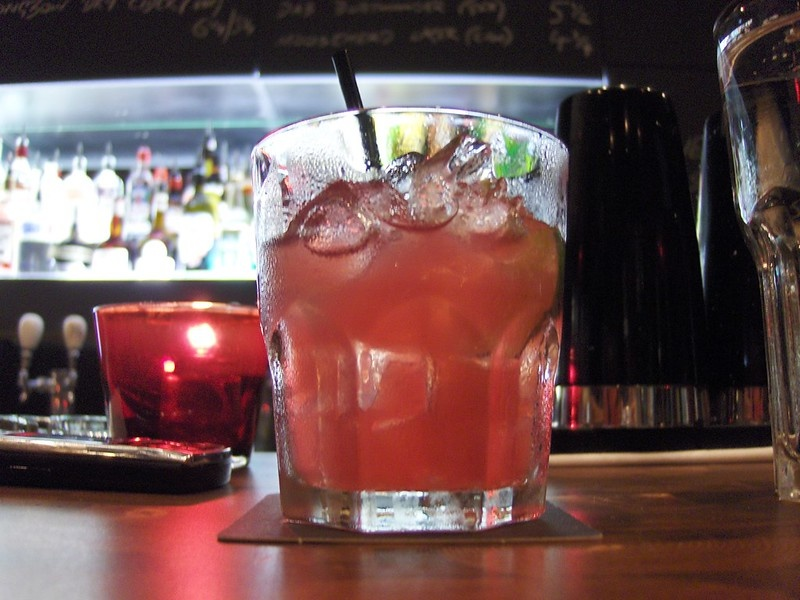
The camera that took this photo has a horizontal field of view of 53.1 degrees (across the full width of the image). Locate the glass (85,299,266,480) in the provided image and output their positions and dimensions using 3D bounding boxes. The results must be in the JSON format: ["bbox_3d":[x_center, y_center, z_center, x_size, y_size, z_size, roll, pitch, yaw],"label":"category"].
[{"bbox_3d":[-0.217,0.094,0.838,0.174,0.145,0.164,0,-7,-8],"label":"glass"}]
